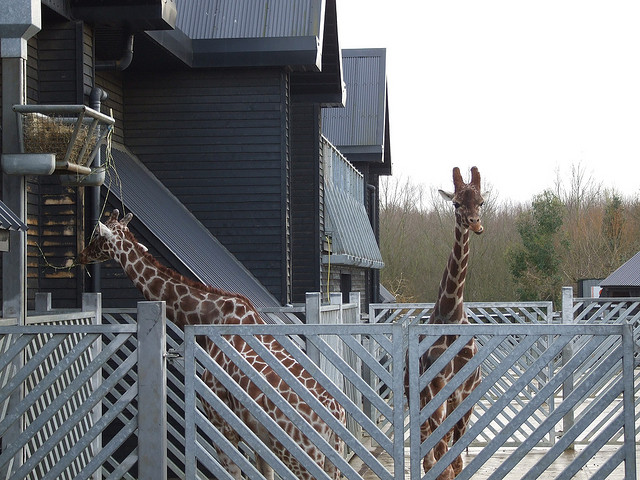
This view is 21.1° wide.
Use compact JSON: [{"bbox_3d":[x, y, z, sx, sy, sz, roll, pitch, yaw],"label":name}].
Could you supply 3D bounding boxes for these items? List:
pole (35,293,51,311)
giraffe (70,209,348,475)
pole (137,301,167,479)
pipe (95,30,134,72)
[{"bbox_3d":[-7.150,1.594,44.457,0.371,0.450,0.280,1,-1,-8],"label":"pole"},{"bbox_3d":[-2.334,2.605,43.643,6.915,6.626,3.291,0,-1,39],"label":"giraffe"},{"bbox_3d":[-4.084,3.665,41.931,0.738,4.327,0.269,1,-1,-13],"label":"pole"},{"bbox_3d":[-5.491,-5.187,46.936,1.060,1.062,0.535,1,-1,13],"label":"pipe"}]
